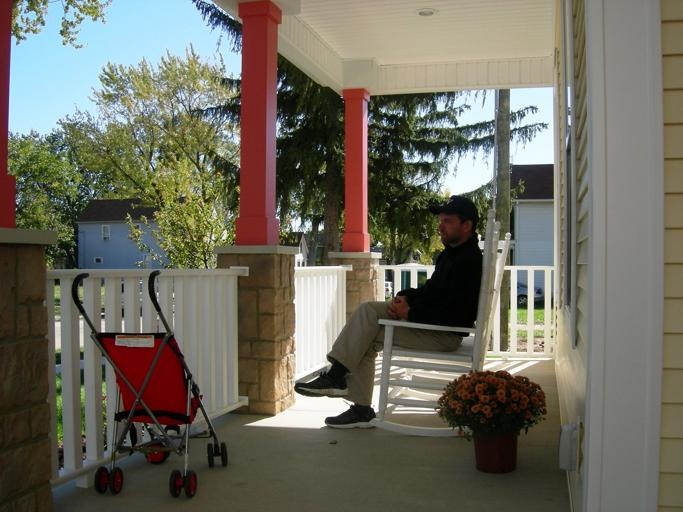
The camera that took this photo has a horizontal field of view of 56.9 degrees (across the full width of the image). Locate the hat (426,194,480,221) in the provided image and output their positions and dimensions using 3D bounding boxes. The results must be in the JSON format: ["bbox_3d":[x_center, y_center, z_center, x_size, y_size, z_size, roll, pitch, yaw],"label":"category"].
[{"bbox_3d":[0.811,-0.336,4.463,0.268,0.191,0.207,6,-1,4],"label":"hat"}]

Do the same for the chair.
[{"bbox_3d":[0.640,0.231,4.553,0.993,1.650,1.037,3,36,10],"label":"chair"}]

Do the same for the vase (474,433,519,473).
[{"bbox_3d":[0.867,1.096,3.524,0.211,0.210,0.233,-1,-3,8],"label":"vase"}]

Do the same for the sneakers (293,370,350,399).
[{"bbox_3d":[-0.139,0.907,4.450,0.396,0.261,0.161,6,-13,-12],"label":"sneakers"}]

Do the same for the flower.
[{"bbox_3d":[0.888,0.836,3.679,0.548,0.424,0.609,2,-9,2],"label":"flower"}]

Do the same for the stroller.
[{"bbox_3d":[-0.993,0.649,3.397,0.498,1.215,0.877,-1,2,1],"label":"stroller"}]

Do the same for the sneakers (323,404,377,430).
[{"bbox_3d":[0.052,1.120,4.426,0.376,0.234,0.152,3,-10,-5],"label":"sneakers"}]
